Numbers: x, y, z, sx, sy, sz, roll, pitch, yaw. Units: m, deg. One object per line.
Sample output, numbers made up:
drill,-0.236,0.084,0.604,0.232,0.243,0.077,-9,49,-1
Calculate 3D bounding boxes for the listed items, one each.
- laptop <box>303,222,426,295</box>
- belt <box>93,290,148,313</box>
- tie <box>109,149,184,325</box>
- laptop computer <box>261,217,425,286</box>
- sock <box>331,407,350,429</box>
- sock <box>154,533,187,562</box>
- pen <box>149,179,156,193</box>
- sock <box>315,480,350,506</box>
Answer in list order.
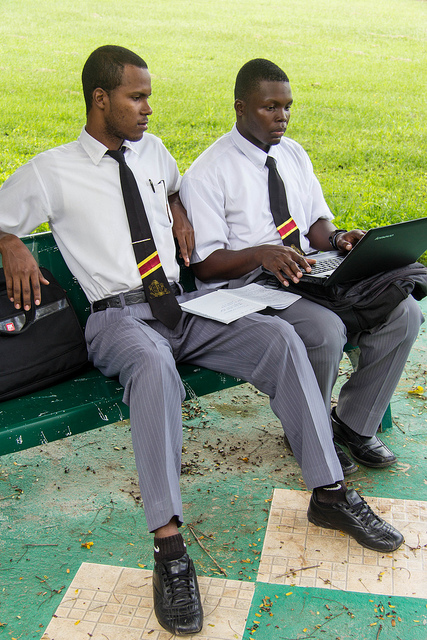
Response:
laptop,0.492,-0.284,1.807,0.323,0.184,0.296,-14,28,-34
belt,-0.340,-0.066,1.883,0.196,0.069,0.080,-6,21,-8
tie,-0.230,-0.219,1.913,0.131,0.854,0.080,-20,10,-13
laptop computer,0.513,-0.276,1.902,0.470,0.231,0.496,-16,24,-33
sock,0.538,0.407,2.175,0.057,0.014,0.058,35,6,-18
sock,-0.110,0.585,1.338,0.059,0.055,0.079,-9,-14,-17
pen,-0.239,-0.529,2.047,0.014,0.057,0.013,-20,5,7
sock,0.370,0.543,1.614,0.099,0.071,0.057,-1,21,4
